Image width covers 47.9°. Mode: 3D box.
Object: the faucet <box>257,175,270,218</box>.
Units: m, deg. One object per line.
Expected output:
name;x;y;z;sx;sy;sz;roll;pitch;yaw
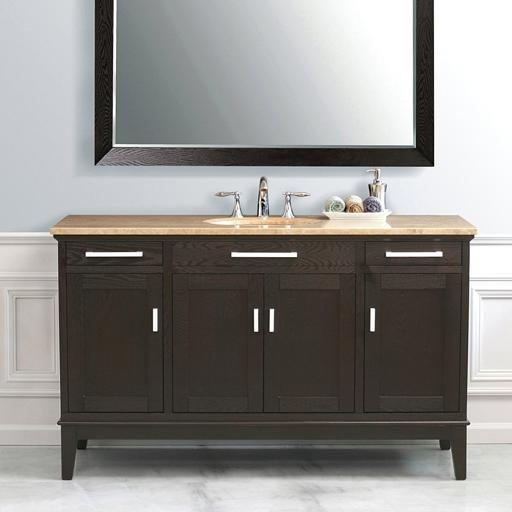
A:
faucet;0.028;-0.264;2.573;0.046;0.183;0.106;0;5;-3

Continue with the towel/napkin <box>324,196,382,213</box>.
towel/napkin;0.413;-0.219;2.465;0.236;0.067;0.084;1;5;11
